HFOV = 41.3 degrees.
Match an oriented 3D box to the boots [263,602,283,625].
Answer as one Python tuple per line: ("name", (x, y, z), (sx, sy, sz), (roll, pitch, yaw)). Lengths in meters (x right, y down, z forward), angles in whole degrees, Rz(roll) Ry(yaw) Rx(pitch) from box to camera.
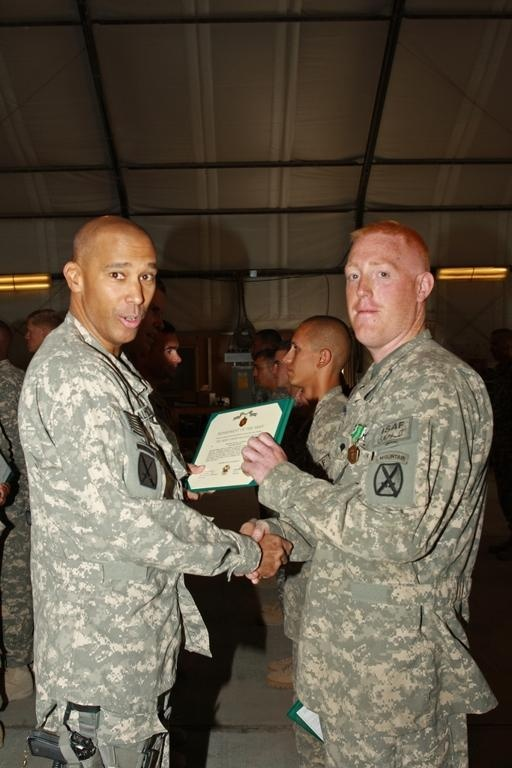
("boots", (0.109, 1.494, 4.389), (0.094, 0.106, 0.032), (-6, -55, 9))

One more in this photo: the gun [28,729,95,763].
("gun", (-0.479, 0.889, 1.664), (0.164, 0.060, 0.083), (9, -40, 10))

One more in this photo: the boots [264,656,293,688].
("boots", (0.130, 1.513, 3.548), (0.158, 0.043, 0.105), (5, 4, 8))
